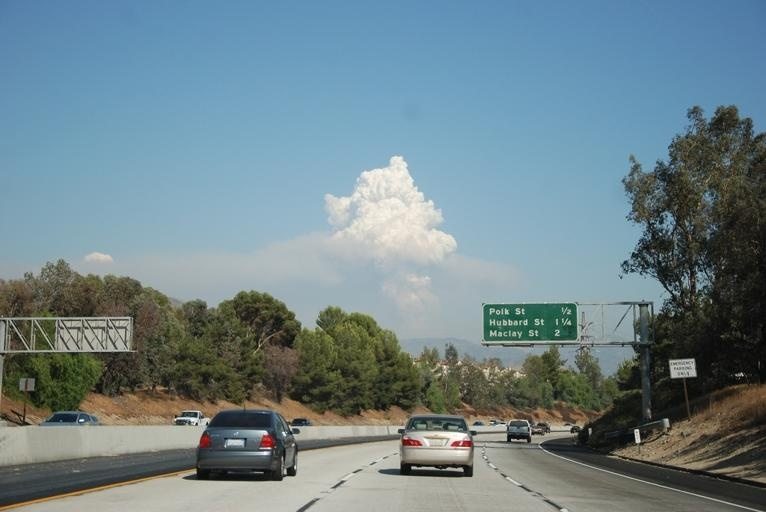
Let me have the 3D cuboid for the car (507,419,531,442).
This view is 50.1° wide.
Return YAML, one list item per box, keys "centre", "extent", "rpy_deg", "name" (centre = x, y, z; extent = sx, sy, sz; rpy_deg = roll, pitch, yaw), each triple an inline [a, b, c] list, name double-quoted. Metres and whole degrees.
- centre: [13.120, 17.193, 79.760]
  extent: [2.136, 2.139, 3.364]
  rpy_deg: [-3, -11, 11]
  name: "car"

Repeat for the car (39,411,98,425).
- centre: [-20.698, 10.772, 54.167]
  extent: [1.826, 0.880, 4.595]
  rpy_deg: [-2, -11, 5]
  name: "car"
